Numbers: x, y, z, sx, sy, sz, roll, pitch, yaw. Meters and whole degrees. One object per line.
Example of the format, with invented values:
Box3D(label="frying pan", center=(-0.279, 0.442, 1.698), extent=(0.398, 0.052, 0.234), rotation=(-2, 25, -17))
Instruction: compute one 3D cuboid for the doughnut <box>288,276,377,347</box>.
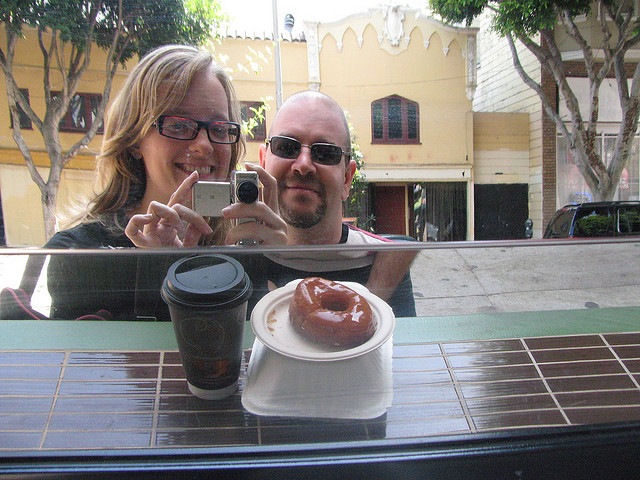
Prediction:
Box3D(label="doughnut", center=(0.026, 0.152, 1.174), extent=(0.189, 0.117, 0.091), rotation=(2, 15, 4))

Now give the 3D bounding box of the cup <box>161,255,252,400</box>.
Box3D(label="cup", center=(-0.199, 0.169, 1.207), extent=(0.240, 0.311, 0.243), rotation=(1, 26, 0))

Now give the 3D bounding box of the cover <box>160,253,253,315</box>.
Box3D(label="cover", center=(-0.229, 0.088, 1.113), extent=(0.169, 0.084, 0.126), rotation=(-4, 16, -17))

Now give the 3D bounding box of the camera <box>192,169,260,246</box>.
Box3D(label="camera", center=(-0.217, -0.106, 1.279), extent=(0.153, 0.106, 0.035), rotation=(-1, 15, -8))
